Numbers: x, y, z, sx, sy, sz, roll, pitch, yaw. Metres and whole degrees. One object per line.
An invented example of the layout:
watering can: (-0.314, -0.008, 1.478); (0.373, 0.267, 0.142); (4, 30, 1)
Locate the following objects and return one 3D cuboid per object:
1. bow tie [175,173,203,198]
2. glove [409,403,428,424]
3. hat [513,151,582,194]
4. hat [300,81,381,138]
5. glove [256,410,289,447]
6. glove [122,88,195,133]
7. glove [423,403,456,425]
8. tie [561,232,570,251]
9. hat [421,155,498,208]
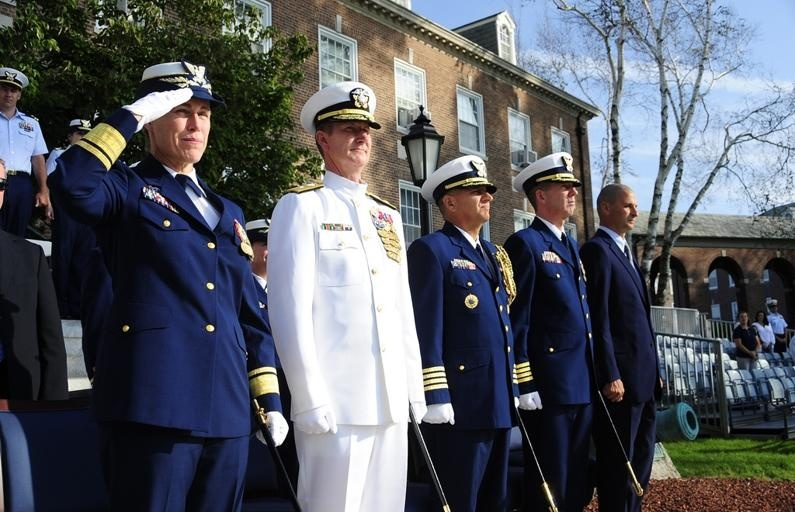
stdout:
bow tie: (-1.669, -0.564, 8.281); (0.191, 0.064, 0.146); (42, 7, -1)
glove: (0.188, 1.342, 8.848); (0.174, 0.183, 0.081); (2, 2, 44)
hat: (1.605, -0.852, 10.909); (0.740, 0.358, 0.665); (-16, -11, 30)
hat: (-0.474, -1.320, 9.200); (0.711, 0.380, 0.761); (-7, -1, -44)
glove: (-1.006, 1.368, 8.314); (0.232, 0.315, 0.108); (29, -16, -26)
glove: (-1.864, -1.119, 8.115); (0.420, 0.120, 0.314); (-17, -8, 15)
glove: (0.385, 1.408, 9.181); (0.252, 0.176, 0.420); (-3, -9, 8)
tie: (1.732, -0.143, 10.469); (0.090, 0.163, 0.077); (-7, -1, -26)
hat: (0.558, -0.727, 10.110); (0.565, 0.264, 0.512); (-24, -23, 29)
